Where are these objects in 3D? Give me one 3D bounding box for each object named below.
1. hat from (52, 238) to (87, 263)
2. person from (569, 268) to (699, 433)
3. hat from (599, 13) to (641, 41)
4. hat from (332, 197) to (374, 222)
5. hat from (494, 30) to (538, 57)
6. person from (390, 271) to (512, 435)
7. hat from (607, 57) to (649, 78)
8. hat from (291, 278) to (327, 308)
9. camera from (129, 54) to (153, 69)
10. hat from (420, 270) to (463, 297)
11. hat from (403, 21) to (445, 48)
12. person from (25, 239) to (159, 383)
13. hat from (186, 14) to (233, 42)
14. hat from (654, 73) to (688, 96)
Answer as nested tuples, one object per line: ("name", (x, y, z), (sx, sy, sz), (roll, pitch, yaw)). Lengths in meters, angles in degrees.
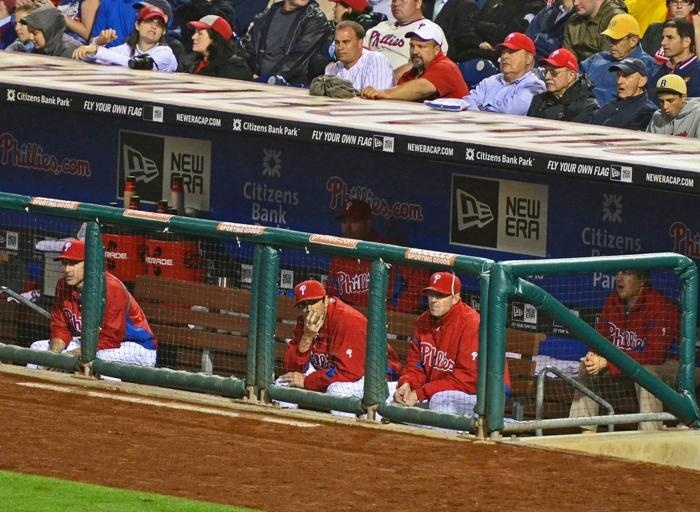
("hat", (-2.303, -0.035, 16.474), (0.162, 0.118, 0.220), (1, -1, 37))
("person", (2.171, 0.746, 15.762), (0.855, 1.274, 0.394), (2, -2, 3))
("hat", (2.562, -2.152, 18.999), (0.320, 0.169, 0.220), (0, 18, -5))
("hat", (0.025, -0.425, 18.482), (0.202, 0.134, 0.281), (0, -3, 41))
("hat", (1.629, -2.039, 19.382), (0.300, 0.142, 0.208), (4, 9, -12))
("person", (0.725, 0.700, 15.553), (1.156, 1.366, 0.948), (3, -7, -23))
("hat", (2.592, -1.733, 18.556), (0.297, 0.101, 0.184), (5, 3, -20))
("hat", (-0.338, 0.295, 15.841), (0.185, 0.123, 0.243), (-21, -4, 21))
("camera", (-2.175, -1.987, 20.599), (0.177, 0.085, 0.170), (-7, 12, -36))
("hat", (0.713, 0.220, 15.552), (0.236, 0.119, 0.171), (8, 0, -27))
("hat", (0.736, -2.102, 19.285), (0.354, 0.168, 0.239), (20, 1, -32))
("person", (-2.183, 0.492, 16.611), (1.063, 1.126, 0.767), (-7, 7, -35))
("hat", (-1.437, -2.284, 20.452), (0.384, 0.183, 0.257), (15, 11, -12))
("hat", (2.905, -1.543, 18.172), (0.263, 0.132, 0.178), (7, 3, -22))
